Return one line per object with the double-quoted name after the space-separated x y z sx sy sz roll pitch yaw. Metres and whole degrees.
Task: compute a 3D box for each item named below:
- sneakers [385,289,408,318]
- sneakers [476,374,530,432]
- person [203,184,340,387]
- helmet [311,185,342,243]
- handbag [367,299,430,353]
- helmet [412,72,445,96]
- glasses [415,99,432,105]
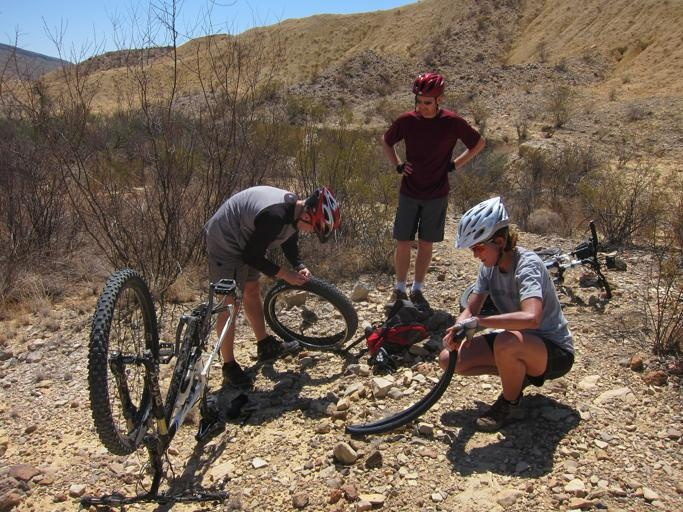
0.623 0.563 7.415 0.165 0.205 0.441 4 10 22 "sneakers"
1.575 1.454 6.137 0.630 0.298 0.211 -28 32 -19 "sneakers"
-0.800 0.411 6.933 1.478 2.321 0.964 12 33 0 "person"
-0.198 -0.415 6.464 0.315 0.514 0.349 -11 -12 41 "helmet"
0.642 0.853 7.310 0.755 0.392 0.629 -16 4 15 "handbag"
0.980 -1.923 7.093 0.240 0.334 0.209 11 22 13 "helmet"
0.890 -1.732 7.139 0.117 0.052 0.253 -7 14 -27 "glasses"
